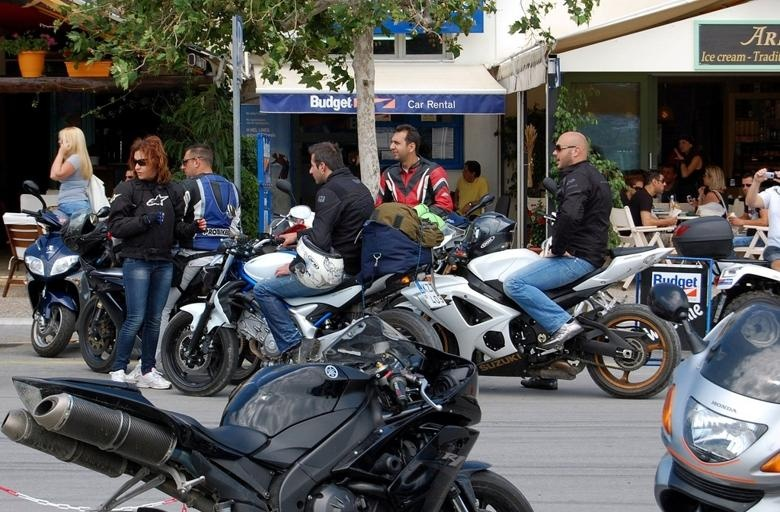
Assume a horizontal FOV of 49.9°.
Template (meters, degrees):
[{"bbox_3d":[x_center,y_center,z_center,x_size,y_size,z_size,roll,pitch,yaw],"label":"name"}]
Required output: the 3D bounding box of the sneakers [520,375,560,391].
[{"bbox_3d":[1.742,1.481,9.725,0.405,0.174,0.222,1,7,13],"label":"sneakers"}]

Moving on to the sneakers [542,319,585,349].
[{"bbox_3d":[1.813,0.814,8.790,0.302,0.102,0.133,-39,-29,11],"label":"sneakers"}]

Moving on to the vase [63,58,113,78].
[{"bbox_3d":[-5.626,-3.483,15.553,0.804,0.369,0.749,-3,9,-22],"label":"vase"}]

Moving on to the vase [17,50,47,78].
[{"bbox_3d":[-6.760,-3.614,15.925,0.532,0.444,0.558,0,3,5],"label":"vase"}]

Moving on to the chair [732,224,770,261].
[{"bbox_3d":[5.938,-0.221,13.724,0.580,0.849,0.570,1,1,0],"label":"chair"}]

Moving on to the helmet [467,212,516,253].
[{"bbox_3d":[1.138,-0.254,9.491,0.488,0.444,0.417,5,0,1],"label":"helmet"}]

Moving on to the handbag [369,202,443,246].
[{"bbox_3d":[0.176,-0.269,8.882,0.608,0.246,0.443,30,-1,-24],"label":"handbag"}]

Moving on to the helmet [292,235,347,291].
[{"bbox_3d":[-0.794,0.064,8.665,0.512,0.480,0.423,12,9,20],"label":"helmet"}]

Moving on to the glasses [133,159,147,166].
[{"bbox_3d":[-2.725,-1.009,9.026,0.070,0.090,0.230,-8,12,-43],"label":"glasses"}]

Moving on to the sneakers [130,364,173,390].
[{"bbox_3d":[-2.752,1.372,9.597,0.541,0.264,0.224,6,-1,1],"label":"sneakers"}]
